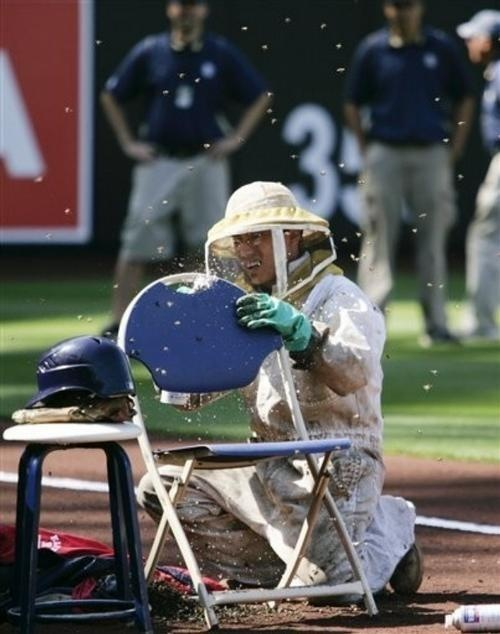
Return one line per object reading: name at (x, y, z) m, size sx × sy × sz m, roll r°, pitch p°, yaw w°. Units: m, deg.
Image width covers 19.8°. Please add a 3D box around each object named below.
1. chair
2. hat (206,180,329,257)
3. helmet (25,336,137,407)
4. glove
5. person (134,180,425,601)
chair at (-0.045, 0.363, 4.508) m, size 0.666 × 1.061 × 0.740 m, roll -1°, pitch -1°, yaw -17°
hat at (0.057, -0.368, 5.087) m, size 0.454 × 0.206 × 0.427 m, roll -8°, pitch -10°, yaw 32°
helmet at (-0.536, 0.169, 4.418) m, size 0.350 × 0.215 × 0.265 m, roll -4°, pitch 1°, yaw -8°
glove at (0.080, -0.003, 4.693) m, size 0.257 × 0.152 × 0.074 m, roll 20°, pitch -8°, yaw -4°
person at (0.093, 0.261, 4.982) m, size 1.033 × 1.390 × 0.896 m, roll 0°, pitch -7°, yaw 5°
